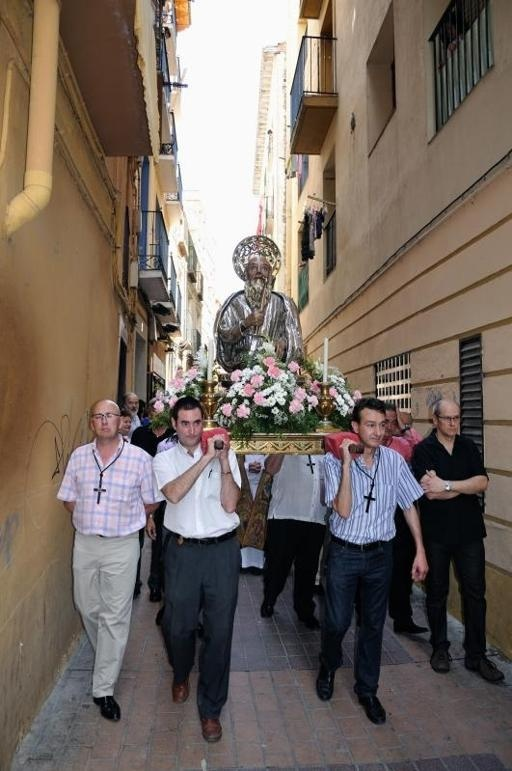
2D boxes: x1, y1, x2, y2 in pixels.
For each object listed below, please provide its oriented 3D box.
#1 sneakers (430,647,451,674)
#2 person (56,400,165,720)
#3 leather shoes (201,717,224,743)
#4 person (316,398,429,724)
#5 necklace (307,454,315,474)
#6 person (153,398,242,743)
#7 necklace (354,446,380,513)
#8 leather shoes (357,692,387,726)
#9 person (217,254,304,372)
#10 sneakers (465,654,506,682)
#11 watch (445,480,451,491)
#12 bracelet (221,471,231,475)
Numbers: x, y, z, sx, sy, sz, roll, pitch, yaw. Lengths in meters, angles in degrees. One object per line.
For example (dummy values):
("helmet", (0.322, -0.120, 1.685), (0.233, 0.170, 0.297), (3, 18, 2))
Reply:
("sneakers", (1.211, 1.820, 3.117), (0.059, 0.099, 0.216), (-2, -28, 3))
("person", (-0.848, 0.928, 2.698), (0.468, 1.617, 0.401), (-3, -8, 19))
("leather shoes", (-0.209, 1.613, 2.220), (0.094, 0.082, 0.101), (2, -10, -7))
("person", (0.630, 0.924, 2.584), (0.533, 1.629, 0.631), (2, -9, -15))
("necklace", (0.459, 0.665, 3.917), (0.054, 0.150, 0.124), (1, -10, -7))
("person", (-0.311, 0.909, 2.496), (0.527, 1.622, 0.473), (-4, -9, 28))
("necklace", (0.581, 0.512, 2.509), (0.071, 0.355, 0.022), (5, -10, -4))
("leather shoes", (0.598, 1.655, 2.426), (0.059, 0.110, 0.206), (2, -16, -5))
("person", (0.032, -0.570, 3.743), (0.707, 0.882, 0.457), (2, -9, -7))
("sneakers", (1.428, 1.745, 2.989), (0.080, 0.151, 0.291), (-4, -14, -14))
("watch", (1.222, 0.648, 3.028), (0.026, 0.057, 0.050), (4, -8, 1))
("bracelet", (-0.154, 0.444, 2.371), (0.048, 0.023, 0.038), (-1, -11, 8))
